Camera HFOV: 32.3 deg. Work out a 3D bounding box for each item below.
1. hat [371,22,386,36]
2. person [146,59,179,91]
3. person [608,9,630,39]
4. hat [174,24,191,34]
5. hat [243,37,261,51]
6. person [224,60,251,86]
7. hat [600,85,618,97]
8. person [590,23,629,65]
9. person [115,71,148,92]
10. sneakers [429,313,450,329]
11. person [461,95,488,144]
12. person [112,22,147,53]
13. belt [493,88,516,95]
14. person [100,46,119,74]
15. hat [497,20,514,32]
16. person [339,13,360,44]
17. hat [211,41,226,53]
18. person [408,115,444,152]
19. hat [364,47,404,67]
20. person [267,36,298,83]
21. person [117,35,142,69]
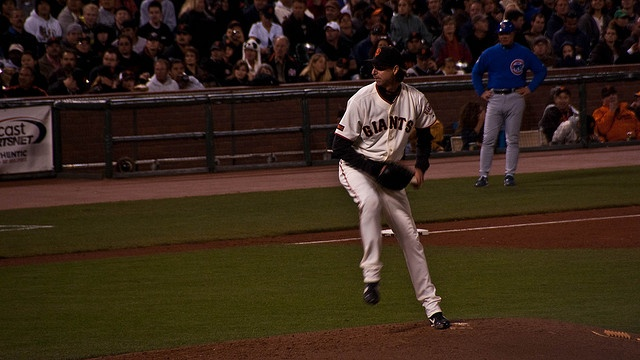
[{"bbox_3d":[1.599,-4.152,30.793,0.542,0.207,0.698,0,12,-2],"label":"hat"},{"bbox_3d":[-4.155,-2.720,29.281,1.179,0.881,0.591,0,1,-8],"label":"person"},{"bbox_3d":[8.999,-4.710,33.261,0.694,0.899,0.531,-2,-5,-17],"label":"person"},{"bbox_3d":[-3.727,-4.052,30.004,0.348,0.269,0.539,-2,6,-6],"label":"hat"},{"bbox_3d":[-1.838,-3.600,29.718,0.497,0.325,0.314,-8,18,-2],"label":"hat"},{"bbox_3d":[-2.154,-2.840,29.913,1.008,0.759,0.607,5,2,0],"label":"person"},{"bbox_3d":[7.806,-2.359,29.988,0.386,0.298,0.432,0,6,7],"label":"hat"},{"bbox_3d":[8.605,-3.975,32.579,0.983,1.028,1.568,15,22,13],"label":"person"},{"bbox_3d":[-5.044,-2.573,29.358,0.592,0.372,0.717,-9,0,-21],"label":"person"},{"bbox_3d":[2.082,2.431,19.111,0.217,0.162,0.418,-8,2,-30],"label":"sneakers"},{"bbox_3d":[4.148,-1.582,30.259,0.832,1.119,0.461,17,57,25],"label":"person"},{"bbox_3d":[-5.141,-3.852,30.065,0.827,0.875,0.492,-1,34,11],"label":"person"},{"bbox_3d":[4.218,-2.022,25.525,0.484,0.142,0.095,0,7,7],"label":"belt"},{"bbox_3d":[-5.487,-3.113,29.115,0.479,0.635,0.344,-4,7,-18],"label":"person"},{"bbox_3d":[4.261,-3.499,25.482,0.356,0.279,0.250,0,7,8],"label":"hat"},{"bbox_3d":[0.847,-4.293,31.738,0.725,0.792,0.376,-6,14,15],"label":"person"},{"bbox_3d":[-2.734,-3.541,29.792,0.448,0.204,0.556,-1,-7,-1],"label":"hat"},{"bbox_3d":[3.088,-1.209,29.732,1.140,0.895,0.356,6,5,-4],"label":"person"},{"bbox_3d":[1.157,-2.167,19.553,0.538,0.245,0.327,8,12,-5],"label":"hat"},{"bbox_3d":[-0.984,-3.213,30.086,1.045,1.116,0.481,-3,22,-6],"label":"person"},{"bbox_3d":[-5.083,-3.345,29.404,0.666,0.796,0.421,-18,17,-21],"label":"person"}]
